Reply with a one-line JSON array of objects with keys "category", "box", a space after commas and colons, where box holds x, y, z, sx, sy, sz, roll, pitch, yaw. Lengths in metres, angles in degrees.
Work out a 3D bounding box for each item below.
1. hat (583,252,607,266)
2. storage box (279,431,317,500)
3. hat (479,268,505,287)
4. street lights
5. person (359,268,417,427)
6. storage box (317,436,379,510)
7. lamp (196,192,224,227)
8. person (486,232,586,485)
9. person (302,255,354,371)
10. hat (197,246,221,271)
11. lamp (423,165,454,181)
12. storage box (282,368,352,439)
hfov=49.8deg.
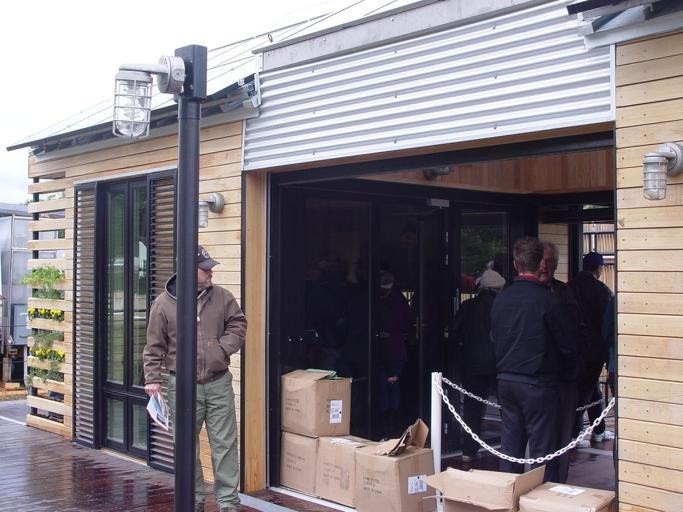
[{"category": "hat", "box": [2.714, 0.024, 7.939, 0.189, 0.190, 0.138, -16, 14, -36]}, {"category": "storage box", "box": [-0.408, 1.939, 6.889, 0.472, 0.468, 0.460, 0, -2, -40]}, {"category": "hat", "box": [1.598, 0.233, 7.817, 0.164, 0.151, 0.238, 2, 5, 24]}, {"category": "street lights", "box": [-1.048, 0.109, 4.401, 0.521, 2.735, 0.222, 1, 1, 27]}, {"category": "person", "box": [0.528, 1.037, 7.921, 0.515, 1.755, 0.159, 0, 1, -37]}, {"category": "storage box", "box": [0.044, 1.923, 6.742, 0.529, 0.529, 0.530, 4, 1, 32]}, {"category": "lamp", "box": [-1.320, -0.460, 7.243, 0.256, 0.358, 0.206, 1, -3, -36]}, {"category": "person", "box": [1.573, 0.974, 5.990, 0.686, 2.297, 0.645, 6, 19, 34]}, {"category": "person", "box": [-0.155, 0.649, 7.698, 0.512, 1.221, 0.261, 1, 1, -22]}, {"category": "hat", "box": [-1.173, 0.032, 6.512, 0.216, 0.085, 0.151, 29, 29, 17]}, {"category": "lamp", "box": [1.008, -0.868, 7.765, 0.209, 0.278, 0.279, 12, 12, 44]}, {"category": "storage box", "box": [-0.272, 1.401, 7.051, 0.409, 0.583, 0.711, 5, -8, -34]}]
